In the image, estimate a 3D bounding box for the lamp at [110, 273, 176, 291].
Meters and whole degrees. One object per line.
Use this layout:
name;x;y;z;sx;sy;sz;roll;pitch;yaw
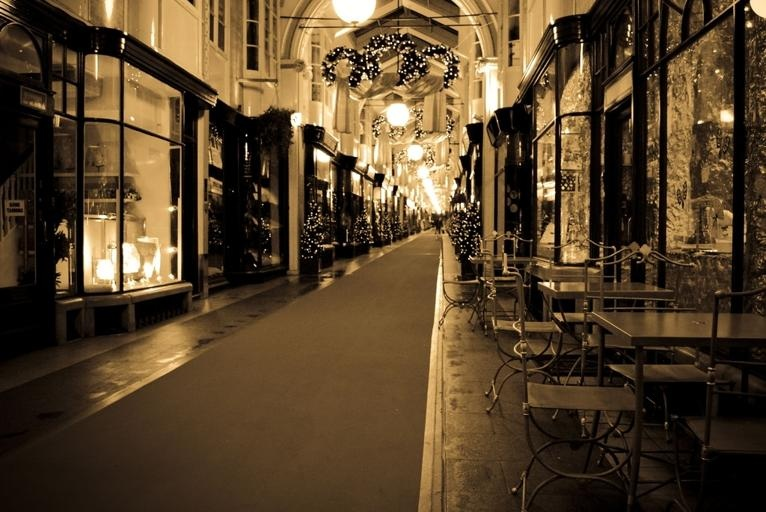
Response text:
lamp;-3.533;0.387;9.848;0.086;0.179;0.959;-12;-6;15

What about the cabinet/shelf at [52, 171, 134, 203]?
cabinet/shelf;-3.994;-0.951;9.059;0.153;0.488;0.947;9;15;41
